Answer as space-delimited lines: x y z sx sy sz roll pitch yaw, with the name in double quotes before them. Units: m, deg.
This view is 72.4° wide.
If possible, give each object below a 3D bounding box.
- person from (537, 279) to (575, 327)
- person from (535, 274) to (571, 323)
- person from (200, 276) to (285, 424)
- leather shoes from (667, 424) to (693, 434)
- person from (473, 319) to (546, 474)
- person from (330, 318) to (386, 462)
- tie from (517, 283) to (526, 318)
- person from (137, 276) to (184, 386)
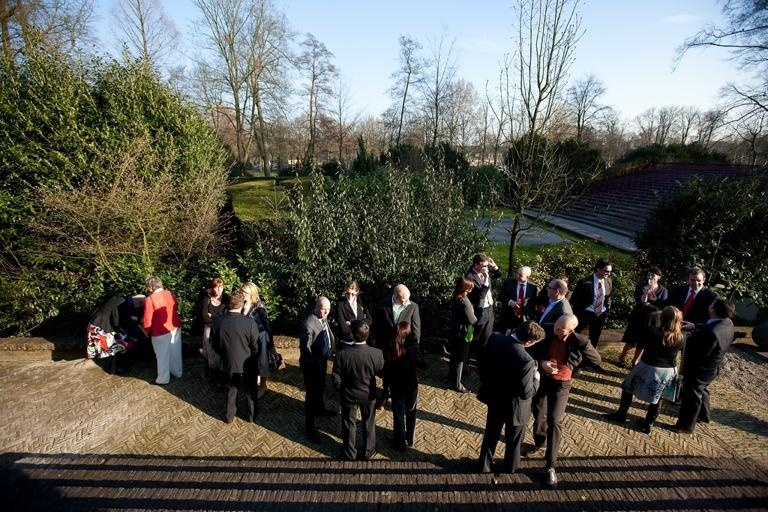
"person" 4.075 1.246 12.323 0.740 1.500 1.052 2 21 13
"person" 4.033 1.076 12.461 0.428 1.308 0.650 14 18 11
"person" -3.179 2.271 12.057 1.004 2.978 1.308 12 14 36
"leather shoes" 6.724 3.965 11.869 0.495 0.248 0.183 -2 9 28
"person" 2.500 3.000 10.859 1.036 3.099 0.634 6 12 11
"person" -0.553 2.871 11.068 1.053 2.978 0.534 4 11 1
"tie" 3.393 1.123 12.954 0.169 0.825 0.174 4 11 3
"person" -5.400 1.839 12.736 0.860 2.611 0.475 -2 13 -27
